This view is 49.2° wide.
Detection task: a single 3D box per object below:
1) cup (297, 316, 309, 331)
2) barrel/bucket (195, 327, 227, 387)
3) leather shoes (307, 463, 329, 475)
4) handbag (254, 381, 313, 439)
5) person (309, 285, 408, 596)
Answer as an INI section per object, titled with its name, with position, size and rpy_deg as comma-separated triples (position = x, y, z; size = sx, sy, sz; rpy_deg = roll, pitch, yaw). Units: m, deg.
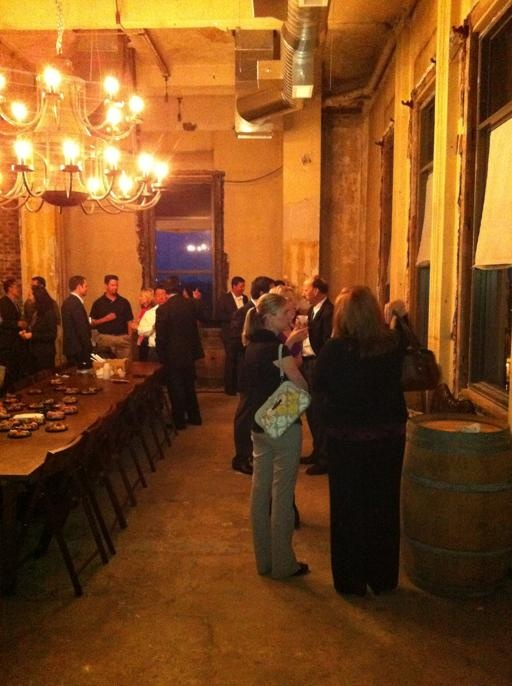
[cup]
position = 0.354, -0.153, 4.289
size = 0.088, 0.089, 0.154
rpy_deg = 7, -11, 5
[barrel/bucket]
position = -0.871, 0.314, 9.517
size = 0.649, 0.926, 0.645
rpy_deg = -1, -2, 0
[leather shoes]
position = 0.510, 1.067, 4.751
size = 0.201, 0.083, 0.074
rpy_deg = 2, -2, -9
[handbag]
position = 0.126, 0.313, 2.675
size = 0.292, 0.197, 0.086
rpy_deg = -45, -1, -4
[person]
position = 0.476, 0.466, 2.581
size = 0.433, 0.971, 0.287
rpy_deg = 0, 0, 3
